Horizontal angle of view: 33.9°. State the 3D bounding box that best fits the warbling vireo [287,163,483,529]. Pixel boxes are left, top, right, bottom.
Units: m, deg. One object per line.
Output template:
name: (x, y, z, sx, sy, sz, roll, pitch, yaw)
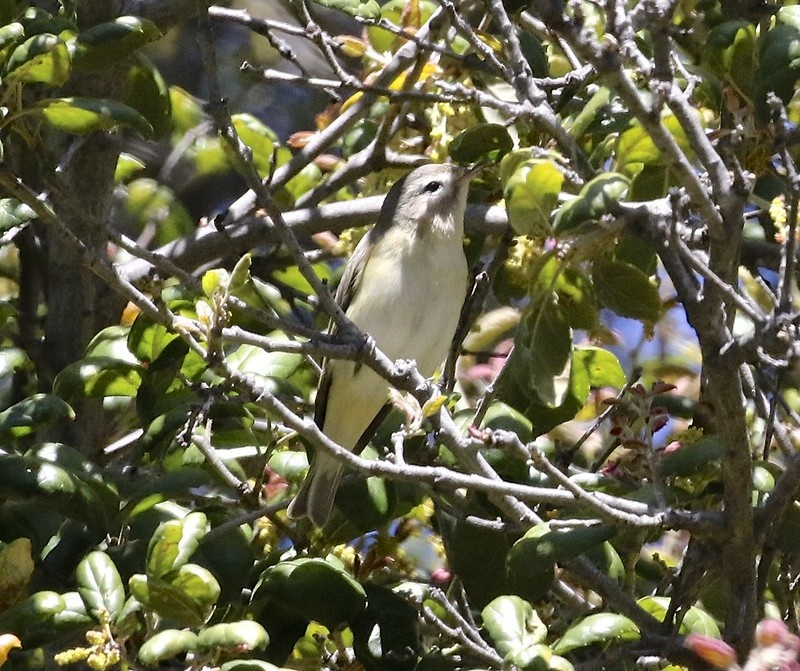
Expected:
warbling vireo: (-0.026, 0.059, 4.340, 0.456, 1.315, 1.057, 9, -16, -1)
